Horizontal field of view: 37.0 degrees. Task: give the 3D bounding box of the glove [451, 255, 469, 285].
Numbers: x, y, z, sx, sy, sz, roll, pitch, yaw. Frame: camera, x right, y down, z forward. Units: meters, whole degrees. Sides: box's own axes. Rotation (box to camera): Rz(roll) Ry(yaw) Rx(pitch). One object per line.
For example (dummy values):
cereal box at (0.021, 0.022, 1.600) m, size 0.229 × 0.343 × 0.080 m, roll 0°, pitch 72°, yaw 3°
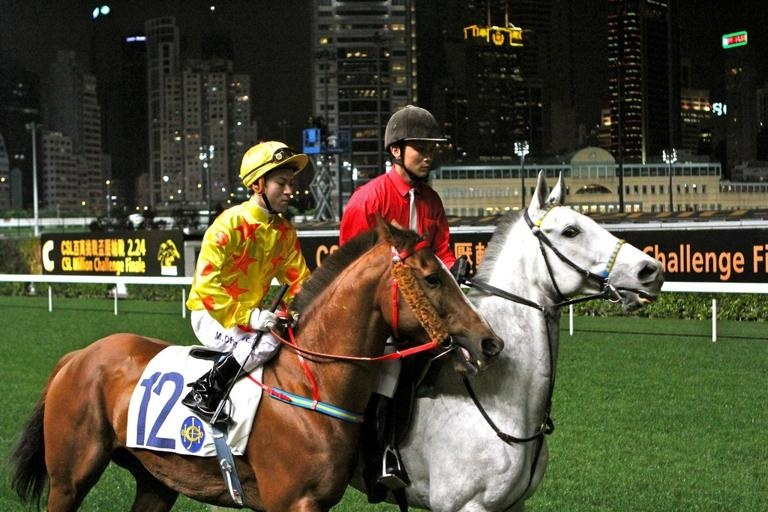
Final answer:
glove at (1.241, 0.214, 18.575) m, size 0.234 × 0.466 × 0.170 m, roll 0°, pitch -9°, yaw -4°
